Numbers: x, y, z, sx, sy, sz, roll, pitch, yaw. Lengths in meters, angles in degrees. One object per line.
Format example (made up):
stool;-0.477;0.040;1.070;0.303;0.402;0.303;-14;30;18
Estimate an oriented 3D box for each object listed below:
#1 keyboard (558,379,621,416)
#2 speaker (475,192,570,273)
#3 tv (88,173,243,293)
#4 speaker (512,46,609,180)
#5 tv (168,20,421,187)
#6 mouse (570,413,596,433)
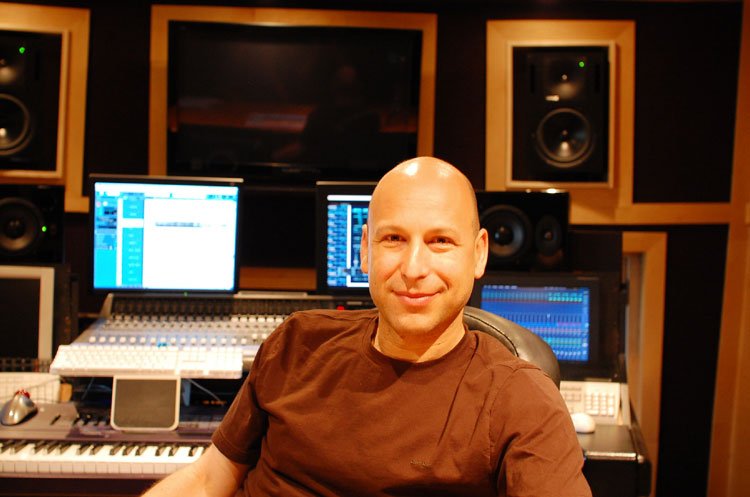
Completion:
keyboard;1.188;0.811;4.078;0.409;0.211;0.094;0;-5;2
speaker;0.820;-0.122;4.504;0.731;0.616;0.401;3;-3;5
tv;-1.229;-0.079;4.284;0.662;0.531;0.054;-1;2;-3
speaker;1.166;-0.846;4.676;0.635;0.810;0.221;4;1;14
tv;-0.516;-0.908;4.579;1.157;0.730;0.122;2;3;0
mouse;1.092;0.909;3.939;0.135;0.091;0.232;0;-3;2
